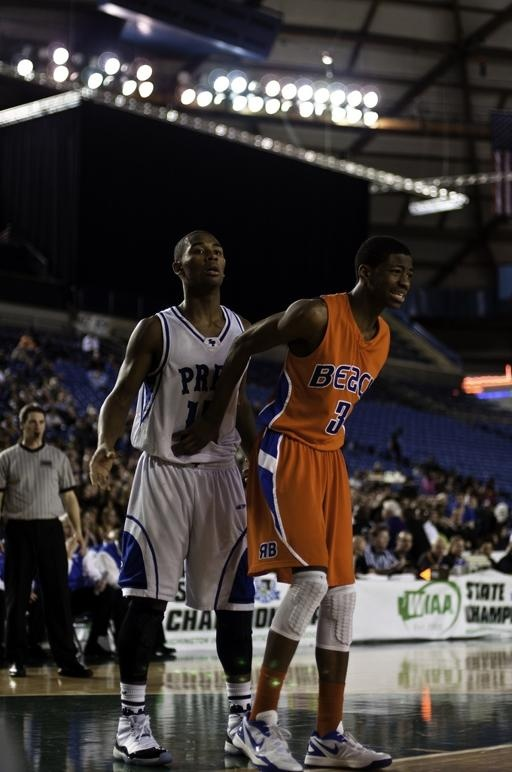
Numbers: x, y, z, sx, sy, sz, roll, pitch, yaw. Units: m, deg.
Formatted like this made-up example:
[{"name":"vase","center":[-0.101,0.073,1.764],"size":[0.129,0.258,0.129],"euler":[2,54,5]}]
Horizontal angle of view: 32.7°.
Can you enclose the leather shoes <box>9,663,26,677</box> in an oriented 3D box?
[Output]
[{"name":"leather shoes","center":[-1.567,1.883,5.738],"size":[0.060,0.063,0.157],"euler":[3,-25,-2]}]

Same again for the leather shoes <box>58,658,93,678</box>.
[{"name":"leather shoes","center":[-1.196,1.864,5.733],"size":[0.264,0.099,0.085],"euler":[1,-7,12]}]

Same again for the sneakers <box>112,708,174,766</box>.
[{"name":"sneakers","center":[-0.429,1.280,3.181],"size":[0.110,0.120,0.297],"euler":[4,-1,-11]}]

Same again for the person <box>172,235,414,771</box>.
[{"name":"person","center":[0.168,0.386,3.177],"size":[0.749,1.977,0.545],"euler":[4,-4,-4]}]
